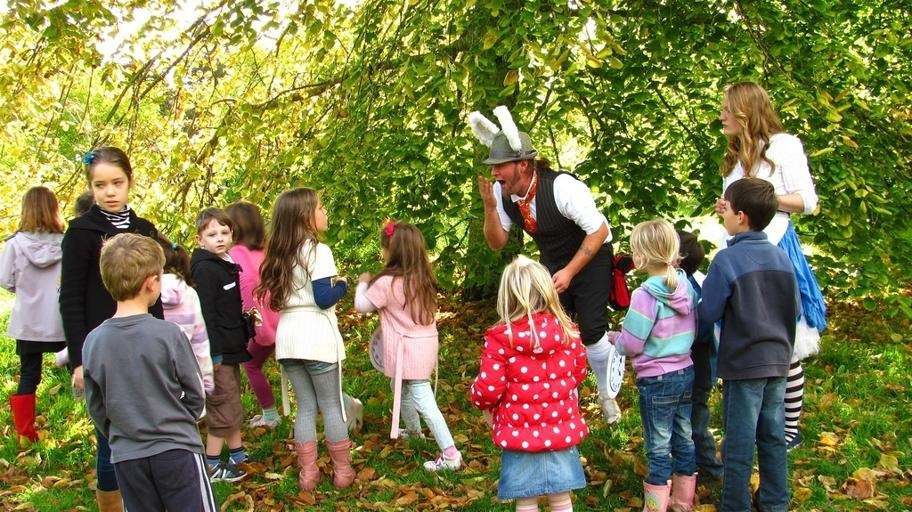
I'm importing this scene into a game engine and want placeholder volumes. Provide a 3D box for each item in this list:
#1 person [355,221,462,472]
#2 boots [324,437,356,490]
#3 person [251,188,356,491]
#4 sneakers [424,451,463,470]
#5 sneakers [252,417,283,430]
[{"bbox_3d":[-0.513,0.976,7.005,0.998,2.719,0.349,-3,-3,-2],"label":"person"},{"bbox_3d":[-1.213,2.211,6.904,0.319,0.480,0.523,-6,6,4],"label":"boots"},{"bbox_3d":[-1.574,0.866,6.863,0.863,3.202,0.456,-3,-3,-14],"label":"person"},{"bbox_3d":[-0.131,2.233,7.098,0.415,0.160,0.183,0,-2,4],"label":"sneakers"},{"bbox_3d":[-2.332,2.018,7.979,0.297,0.108,0.166,3,2,12],"label":"sneakers"}]
